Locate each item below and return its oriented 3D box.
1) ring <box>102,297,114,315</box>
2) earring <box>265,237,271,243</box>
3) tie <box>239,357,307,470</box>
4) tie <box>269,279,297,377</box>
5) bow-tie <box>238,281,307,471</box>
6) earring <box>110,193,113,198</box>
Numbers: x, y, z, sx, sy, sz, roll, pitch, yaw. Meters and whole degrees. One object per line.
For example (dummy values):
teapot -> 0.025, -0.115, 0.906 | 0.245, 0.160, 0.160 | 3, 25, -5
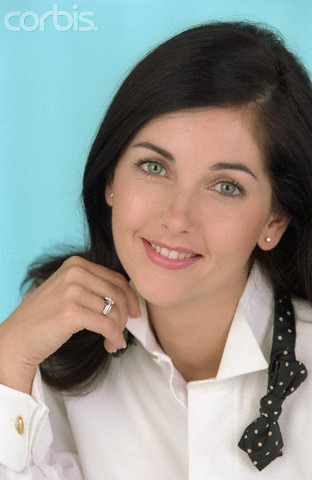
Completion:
ring -> -0.126, 0.172, 1.091 | 0.018, 0.053, 0.012 | 17, -41, -1
earring -> 0.312, 0.000, 1.173 | 0.019, 0.014, 0.007 | -12, 2, -22
tie -> 0.298, 0.460, 1.068 | 0.125, 0.300, 0.052 | 12, -12, 42
tie -> 0.350, 0.261, 1.175 | 0.087, 0.052, 0.377 | -5, -49, 16
bow-tie -> 0.300, 0.329, 1.075 | 0.122, 0.450, 0.068 | 3, -33, 8
earring -> -0.136, -0.132, 1.264 | 0.003, 0.014, 0.011 | -12, 2, -20
